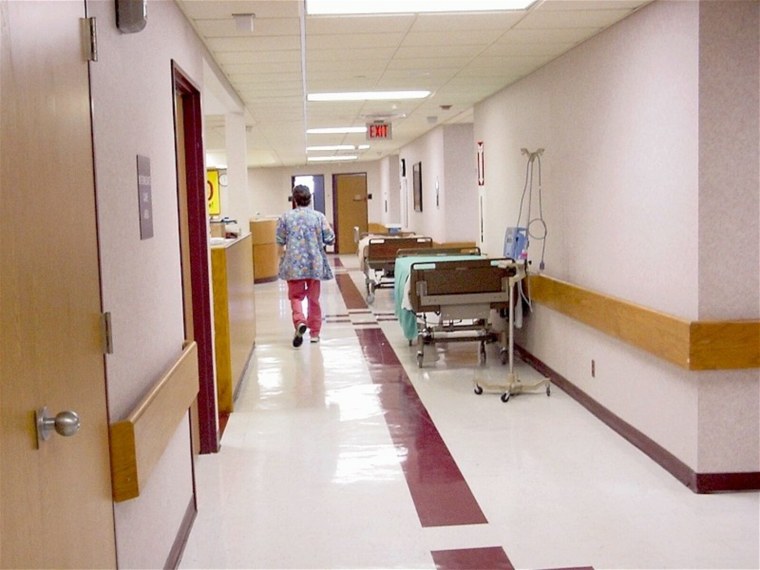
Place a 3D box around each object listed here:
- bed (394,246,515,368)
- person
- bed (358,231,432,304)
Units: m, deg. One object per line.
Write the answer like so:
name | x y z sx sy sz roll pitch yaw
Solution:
bed | 0.761 0.240 6.173 1.175 1.150 1.553 -1 8 2
person | -0.902 -0.265 7.258 0.667 1.911 1.031 -2 8 -8
bed | 0.098 -0.355 10.533 0.872 0.768 1.539 -1 5 -6
